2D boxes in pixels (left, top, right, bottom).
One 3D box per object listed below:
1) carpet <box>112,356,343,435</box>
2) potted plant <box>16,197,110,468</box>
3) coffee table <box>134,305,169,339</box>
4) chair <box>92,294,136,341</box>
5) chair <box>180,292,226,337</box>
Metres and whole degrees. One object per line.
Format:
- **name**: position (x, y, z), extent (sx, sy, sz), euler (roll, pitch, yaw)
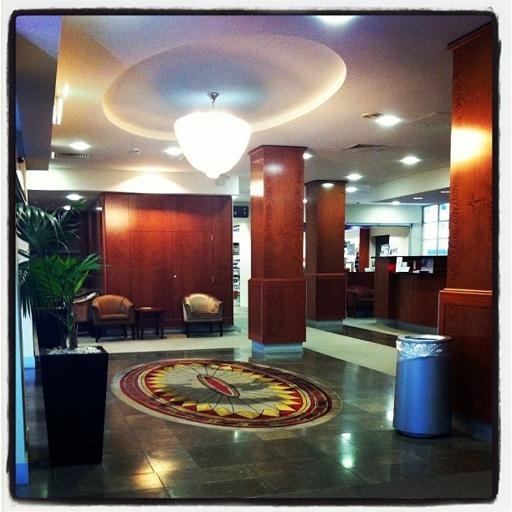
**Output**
- **carpet**: position (-0.400, 1.604, 5.403), extent (2.513, 0.057, 2.488), euler (9, 0, -14)
- **potted plant**: position (-1.775, 0.565, 4.033), extent (0.799, 1.942, 2.090), euler (1, -2, -18)
- **coffee table**: position (-2.293, 1.389, 9.527), extent (0.689, 0.675, 0.707), euler (-1, 2, -21)
- **chair**: position (-2.931, 1.236, 9.063), extent (0.865, 0.802, 0.833), euler (-1, -4, -16)
- **chair**: position (-1.195, 1.281, 9.747), extent (1.003, 0.949, 0.916), euler (1, -6, -14)
